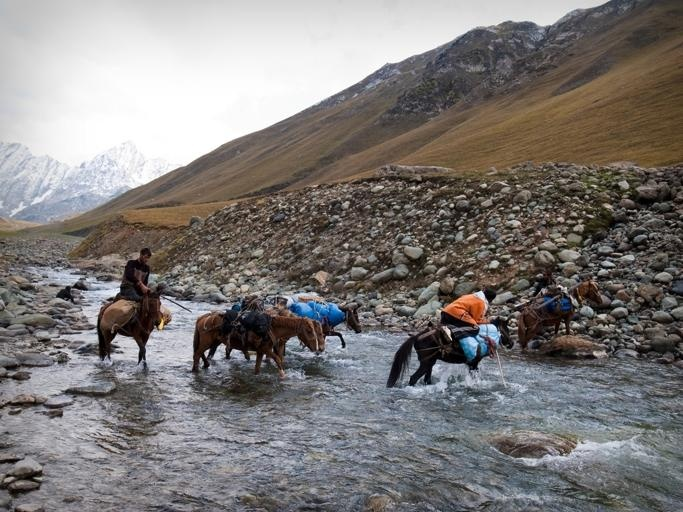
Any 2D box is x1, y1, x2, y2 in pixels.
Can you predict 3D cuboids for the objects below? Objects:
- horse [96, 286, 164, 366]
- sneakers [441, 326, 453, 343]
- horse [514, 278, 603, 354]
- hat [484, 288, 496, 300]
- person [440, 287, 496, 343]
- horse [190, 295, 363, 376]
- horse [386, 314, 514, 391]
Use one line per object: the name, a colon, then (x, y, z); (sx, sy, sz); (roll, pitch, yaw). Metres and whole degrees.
horse: (-5.650, 1.911, 13.326); (1.878, 2.227, 0.568); (3, 8, 9)
sneakers: (2.619, 1.966, 12.229); (0.231, 0.399, 0.181); (-29, -6, 31)
horse: (6.686, 1.810, 15.217); (2.076, 2.307, 1.113); (0, 8, -21)
hat: (3.855, 1.000, 12.867); (0.285, 0.378, 0.505); (4, 6, 15)
person: (3.265, 1.502, 12.689); (1.980, 0.541, 1.088); (-22, 28, -26)
horse: (-2.276, 2.251, 13.621); (3.556, 1.922, 1.510); (1, 7, -6)
horse: (2.800, 2.560, 12.752); (3.855, 1.445, 0.949); (1, -3, -20)
